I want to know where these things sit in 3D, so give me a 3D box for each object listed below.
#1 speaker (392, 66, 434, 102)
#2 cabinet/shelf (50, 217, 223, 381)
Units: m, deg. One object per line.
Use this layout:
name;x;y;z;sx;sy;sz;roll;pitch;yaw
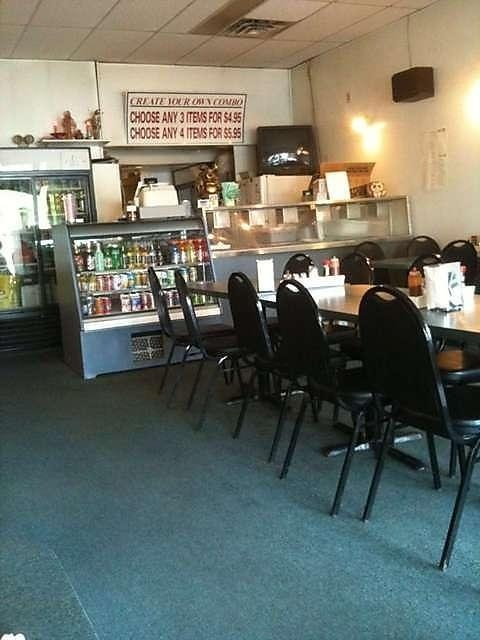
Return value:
speaker;1.971;-2.666;5.570;0.299;0.341;0.416;-6;5;-18
cabinet/shelf;-0.911;-0.184;4.379;1.551;1.410;0.781;-4;5;-26
